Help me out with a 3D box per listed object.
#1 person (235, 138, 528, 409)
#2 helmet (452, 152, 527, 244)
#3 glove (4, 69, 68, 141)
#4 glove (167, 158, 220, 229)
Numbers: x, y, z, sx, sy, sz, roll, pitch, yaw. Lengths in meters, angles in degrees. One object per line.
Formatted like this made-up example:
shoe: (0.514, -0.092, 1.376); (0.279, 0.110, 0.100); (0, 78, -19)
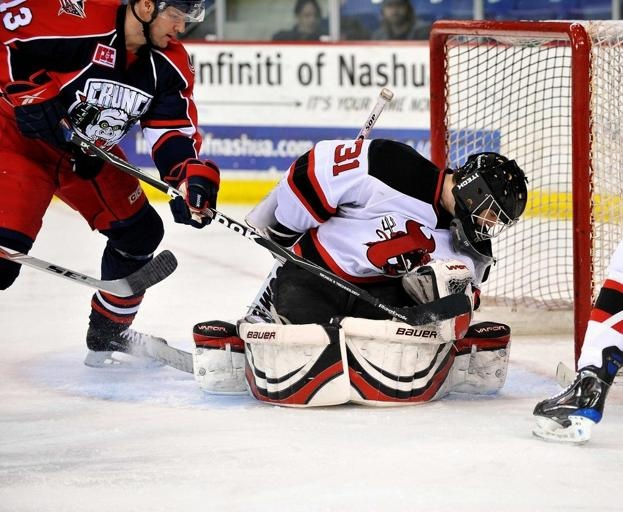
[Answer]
person: (0.237, 0.090, 2.744); (1.045, 0.866, 0.765); (10, -3, 39)
helmet: (0.544, -0.174, 2.414); (0.221, 0.278, 0.164); (0, 10, 12)
glove: (-0.883, -0.493, 2.551); (0.263, 0.197, 0.163); (15, 31, 9)
glove: (-0.404, -0.203, 2.582); (0.193, 0.205, 0.097); (22, -34, -28)
